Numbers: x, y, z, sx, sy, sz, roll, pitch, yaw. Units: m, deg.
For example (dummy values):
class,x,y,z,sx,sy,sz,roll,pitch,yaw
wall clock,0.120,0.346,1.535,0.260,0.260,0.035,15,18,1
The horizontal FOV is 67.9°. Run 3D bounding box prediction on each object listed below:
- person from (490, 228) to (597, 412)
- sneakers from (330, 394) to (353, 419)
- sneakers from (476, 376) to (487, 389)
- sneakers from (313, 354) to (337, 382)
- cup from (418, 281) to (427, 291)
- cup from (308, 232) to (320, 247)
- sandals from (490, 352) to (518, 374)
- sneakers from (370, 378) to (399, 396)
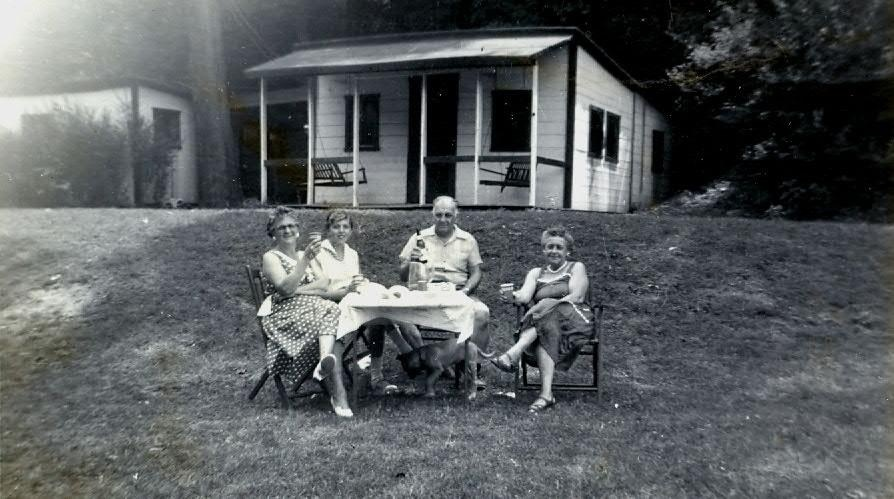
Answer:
class,x,y,z,sx,sy,sz,roll,pitch,yaw
person,1.094,0.754,7.448,1.018,1.929,0.554,-3,7,-24
sneakers,-1.129,1.695,7.221,0.239,0.203,0.170,-1,7,-6
sneakers,0.404,1.558,7.763,0.106,0.114,0.107,-8,-2,-3
sneakers,-1.276,1.241,7.100,0.179,0.321,0.126,36,24,-9
cup,-0.270,0.410,7.424,0.095,0.086,0.094,0,5,0
cup,-1.388,-0.107,7.010,0.110,0.129,0.156,-3,7,-23
sandals,0.631,1.250,7.289,0.245,0.212,0.248,3,7,29
sneakers,-0.716,1.581,7.655,0.280,0.111,0.152,-1,-2,31
